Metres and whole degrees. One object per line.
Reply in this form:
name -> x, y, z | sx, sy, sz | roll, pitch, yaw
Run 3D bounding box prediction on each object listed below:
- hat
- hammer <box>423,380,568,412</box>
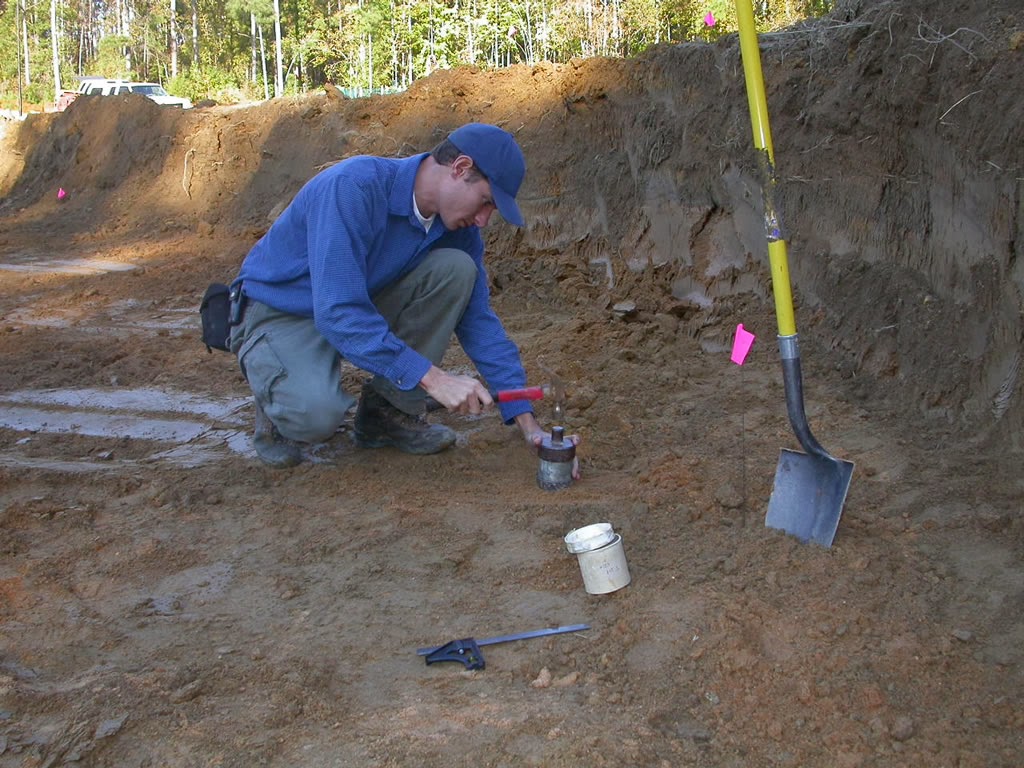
hat -> -0.076, -0.884, 4.130 | 0.446, 0.232, 0.282 | 43, 24, -1
hammer -> -0.035, 0.049, 4.412 | 0.438, 0.149, 0.613 | 1, 10, -16
